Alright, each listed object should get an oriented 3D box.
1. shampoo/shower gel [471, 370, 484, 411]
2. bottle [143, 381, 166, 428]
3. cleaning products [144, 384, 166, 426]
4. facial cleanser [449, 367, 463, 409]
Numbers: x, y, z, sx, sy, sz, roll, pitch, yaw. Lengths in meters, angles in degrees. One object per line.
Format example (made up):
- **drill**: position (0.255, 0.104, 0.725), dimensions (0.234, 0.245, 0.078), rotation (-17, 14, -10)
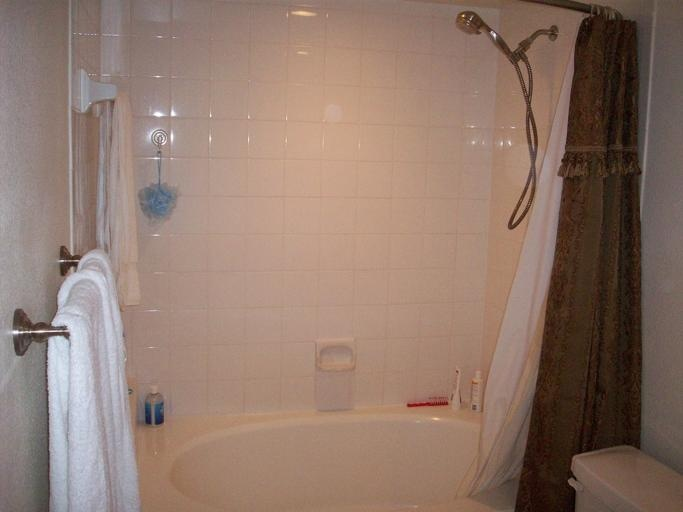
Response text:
- **shampoo/shower gel**: position (0.756, 0.742, 3.299), dimensions (0.067, 0.201, 0.115), rotation (2, 7, 14)
- **bottle**: position (-0.945, 0.764, 3.004), dimensions (0.094, 0.198, 0.103), rotation (-1, -8, 0)
- **cleaning products**: position (-0.944, 0.757, 3.002), dimensions (0.099, 0.204, 0.103), rotation (3, 3, 20)
- **facial cleanser**: position (0.647, 0.744, 3.340), dimensions (0.063, 0.190, 0.168), rotation (2, 8, 12)
